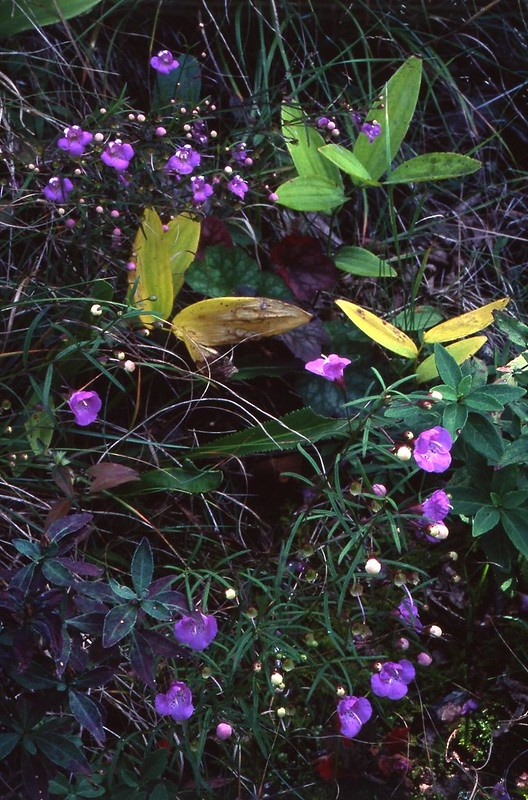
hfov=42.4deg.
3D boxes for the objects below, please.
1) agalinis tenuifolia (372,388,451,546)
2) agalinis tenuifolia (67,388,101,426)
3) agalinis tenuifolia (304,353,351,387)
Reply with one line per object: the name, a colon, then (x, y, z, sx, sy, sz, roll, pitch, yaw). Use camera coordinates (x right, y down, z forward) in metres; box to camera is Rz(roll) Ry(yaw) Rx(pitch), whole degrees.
agalinis tenuifolia: (0.223, 0.099, 1.012, 0.104, 0.072, 0.201, 0, 86, 0)
agalinis tenuifolia: (-0.273, 0.009, 1.041, 0.058, 0.031, 0.055, 0, 109, 3)
agalinis tenuifolia: (0.106, -0.055, 1.064, 0.065, 0.060, 0.045, -12, 97, -28)
